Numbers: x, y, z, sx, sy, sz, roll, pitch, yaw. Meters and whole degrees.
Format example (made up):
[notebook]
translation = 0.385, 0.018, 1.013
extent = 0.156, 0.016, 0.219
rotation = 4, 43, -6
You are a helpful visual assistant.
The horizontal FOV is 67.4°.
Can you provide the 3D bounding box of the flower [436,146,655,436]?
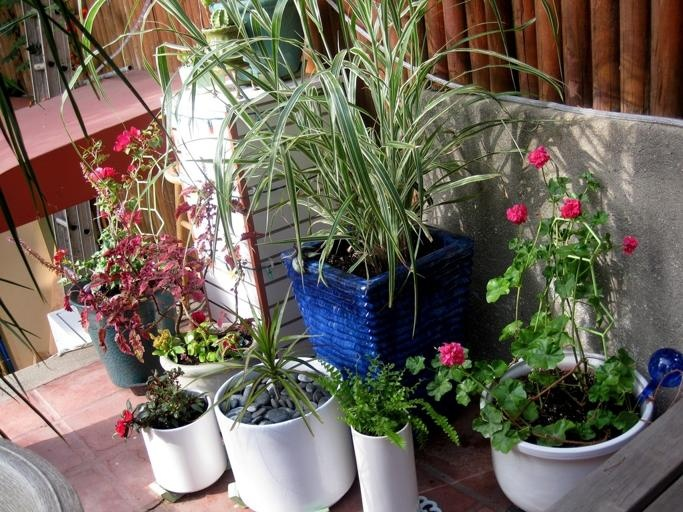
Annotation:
[flower]
translation = 0.601, 0.241, 1.449
extent = 0.432, 0.690, 0.448
rotation = -29, 19, -32
